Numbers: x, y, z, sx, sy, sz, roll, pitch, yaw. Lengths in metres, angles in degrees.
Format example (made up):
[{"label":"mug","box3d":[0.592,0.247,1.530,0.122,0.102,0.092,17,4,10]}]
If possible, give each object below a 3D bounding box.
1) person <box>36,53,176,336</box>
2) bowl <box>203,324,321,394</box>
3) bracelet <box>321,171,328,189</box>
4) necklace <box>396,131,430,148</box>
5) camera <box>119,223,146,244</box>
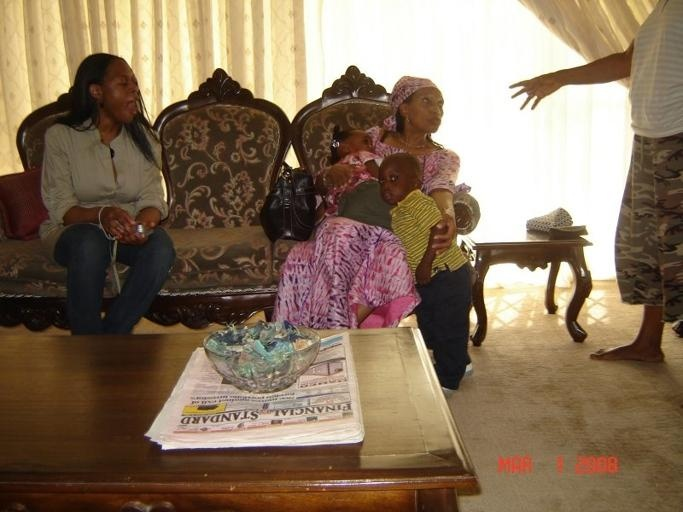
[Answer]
[{"label":"person","box3d":[-0.990,-0.280,2.341,0.539,1.112,0.671,-8,16,-22]},{"label":"bowl","box3d":[-0.180,0.209,1.264,0.176,0.078,0.177,0,-1,0]},{"label":"bracelet","box3d":[-0.073,-0.322,2.350,0.012,0.047,0.050,1,21,-11]},{"label":"necklace","box3d":[0.304,-0.488,2.417,0.116,0.059,0.073,17,-5,2]},{"label":"camera","box3d":[-0.831,-0.089,2.255,0.098,0.071,0.037,-8,16,3]}]
